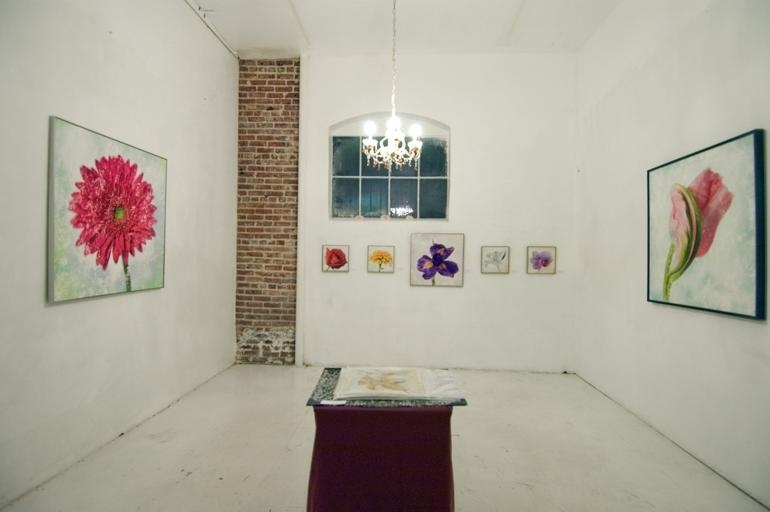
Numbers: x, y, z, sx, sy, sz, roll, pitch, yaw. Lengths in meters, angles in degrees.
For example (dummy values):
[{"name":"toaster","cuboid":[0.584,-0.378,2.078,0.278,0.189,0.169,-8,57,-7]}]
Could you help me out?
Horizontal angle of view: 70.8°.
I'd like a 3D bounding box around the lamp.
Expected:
[{"name":"lamp","cuboid":[0.061,-2.157,6.968,0.854,2.080,1.843,2,3,3]}]
